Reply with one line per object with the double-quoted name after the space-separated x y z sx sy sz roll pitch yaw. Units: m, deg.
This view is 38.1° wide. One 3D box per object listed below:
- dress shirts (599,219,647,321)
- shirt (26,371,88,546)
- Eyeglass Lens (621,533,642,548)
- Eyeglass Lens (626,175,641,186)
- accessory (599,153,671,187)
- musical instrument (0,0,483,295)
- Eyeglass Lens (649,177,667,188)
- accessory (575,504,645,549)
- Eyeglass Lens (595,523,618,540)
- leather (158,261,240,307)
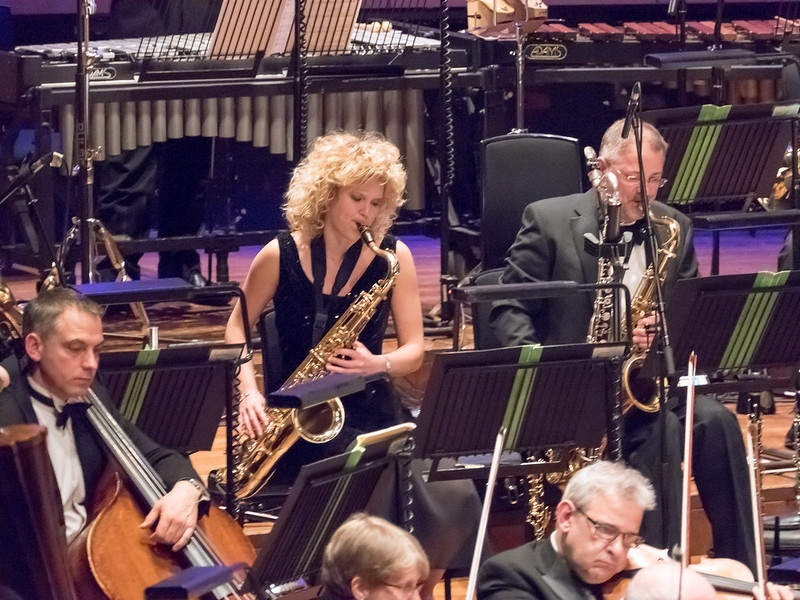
0.920 -0.137 4.668 0.262 0.420 0.122 0 5 -1 "dress shirts"
-1.079 0.511 3.700 0.120 0.509 0.358 -7 -5 21 "shirt"
0.737 0.778 3.757 0.069 0.023 0.068 -2 23 -34 "Eyeglass Lens"
0.909 -0.472 4.567 0.059 0.032 0.077 -4 33 6 "Eyeglass Lens"
0.917 -0.509 4.671 0.165 0.061 0.158 5 22 -41 "accessory"
-0.784 -0.790 6.024 1.733 1.017 0.616 -8 29 -15 "musical instrument"
1.033 -0.481 4.731 0.070 0.025 0.071 11 9 32 "Eyeglass Lens"
0.653 0.727 3.723 0.152 0.046 0.150 23 10 -39 "accessory"
0.648 0.739 3.695 0.077 0.053 0.005 5 6 6 "Eyeglass Lens"
-0.983 -0.079 5.641 0.344 0.182 0.416 -1 3 -39 "leather"
